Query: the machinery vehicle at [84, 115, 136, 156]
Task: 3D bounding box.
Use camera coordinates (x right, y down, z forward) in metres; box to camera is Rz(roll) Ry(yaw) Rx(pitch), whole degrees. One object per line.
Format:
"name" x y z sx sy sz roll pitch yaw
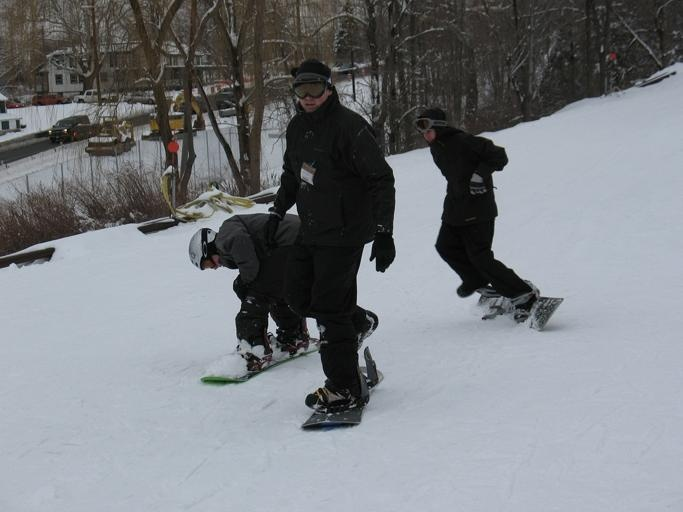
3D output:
"machinery vehicle" -6.032 -3.111 18.506 0.874 1.078 2.236 0 16 -1

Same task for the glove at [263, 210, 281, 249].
"glove" -0.540 -0.220 6.006 0.148 0.269 0.103 2 -17 45

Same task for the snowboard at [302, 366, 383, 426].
"snowboard" 0.064 1.025 5.225 0.353 0.203 0.786 4 17 34

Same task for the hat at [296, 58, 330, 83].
"hat" -0.234 -1.354 5.248 0.289 0.168 0.267 -4 14 6

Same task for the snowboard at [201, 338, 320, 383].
"snowboard" -0.644 0.948 6.261 0.332 0.182 1.630 12 11 34

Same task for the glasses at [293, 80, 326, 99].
"glasses" -0.232 -1.199 5.192 0.250 0.121 0.085 -2 14 15

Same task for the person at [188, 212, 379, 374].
"person" -0.583 0.301 6.332 1.642 1.379 0.624 -2 2 -7

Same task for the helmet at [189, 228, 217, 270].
"helmet" -1.156 -0.079 6.111 0.275 0.321 0.237 19 -11 -20

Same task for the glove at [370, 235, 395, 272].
"glove" 0.307 -0.023 5.102 0.191 0.246 0.097 -1 8 12

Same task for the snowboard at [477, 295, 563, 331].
"snowboard" 1.629 0.486 6.600 0.262 0.293 0.793 -15 16 -31

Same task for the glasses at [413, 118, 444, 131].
"glasses" 0.798 -1.204 6.562 0.168 0.073 0.142 3 4 -6

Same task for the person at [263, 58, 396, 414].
"person" -0.039 -0.145 5.494 0.875 2.540 1.177 -7 11 -42

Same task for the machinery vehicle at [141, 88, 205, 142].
"machinery vehicle" -5.850 -5.442 26.544 1.215 1.226 2.208 -3 20 44

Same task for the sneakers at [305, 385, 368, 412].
"sneakers" -0.028 1.014 5.171 0.297 0.100 0.214 0 0 -16

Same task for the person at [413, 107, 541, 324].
"person" 1.248 -0.388 6.663 1.018 1.997 0.413 1 15 25
